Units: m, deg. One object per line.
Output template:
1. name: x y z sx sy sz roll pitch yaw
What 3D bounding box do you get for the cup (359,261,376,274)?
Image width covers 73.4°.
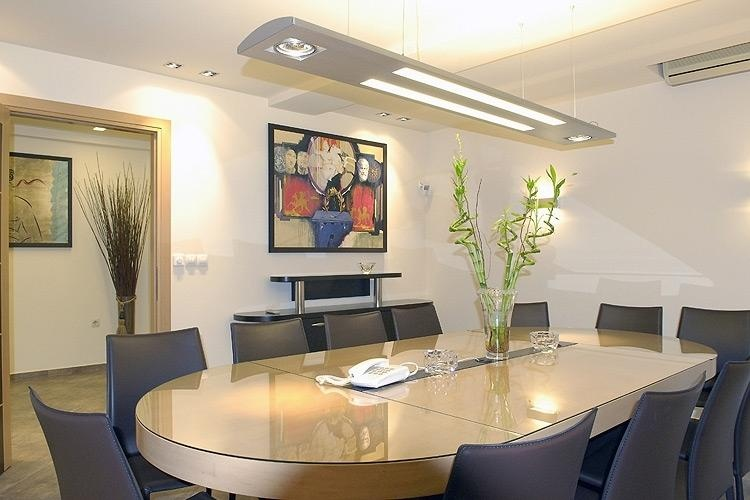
1. cup: -0.109 0.221 6.316 0.163 0.071 0.162 0 -7 0

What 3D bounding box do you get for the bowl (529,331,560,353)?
1. bowl: 1.252 0.685 3.726 0.161 0.110 0.167 2 -14 1

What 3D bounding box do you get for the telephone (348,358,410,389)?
1. telephone: 0.026 0.716 2.928 0.232 0.068 0.176 3 -6 -45

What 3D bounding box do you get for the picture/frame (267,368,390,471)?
1. picture/frame: -0.246 0.840 2.433 0.630 0.110 0.643 1 0 0

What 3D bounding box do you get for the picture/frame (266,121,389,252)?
1. picture/frame: -0.638 -0.757 6.073 1.743 1.332 0.063 3 -4 -40

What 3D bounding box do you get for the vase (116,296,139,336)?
1. vase: -3.345 0.954 6.730 0.269 0.640 0.254 0 -1 10
